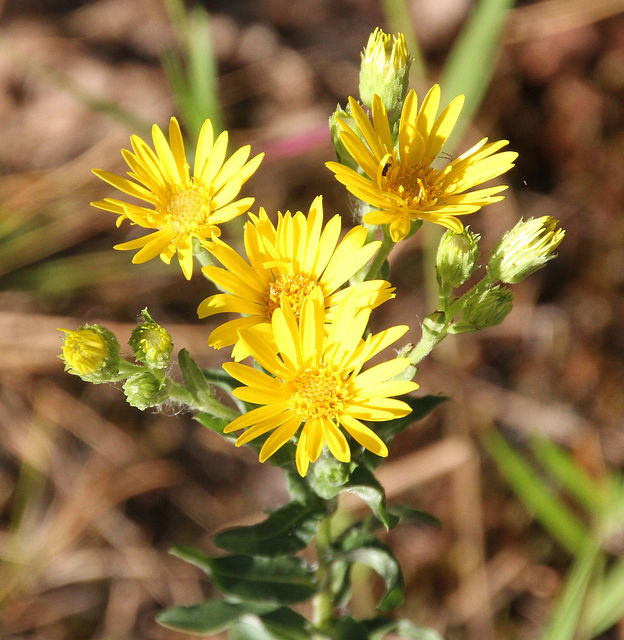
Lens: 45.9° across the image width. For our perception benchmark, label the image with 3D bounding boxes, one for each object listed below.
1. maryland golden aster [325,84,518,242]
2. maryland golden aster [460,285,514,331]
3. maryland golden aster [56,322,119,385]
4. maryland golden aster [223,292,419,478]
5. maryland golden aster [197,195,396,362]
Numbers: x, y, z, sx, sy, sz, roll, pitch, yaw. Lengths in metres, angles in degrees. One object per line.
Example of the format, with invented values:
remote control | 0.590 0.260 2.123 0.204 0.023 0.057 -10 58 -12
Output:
maryland golden aster | 0.354 -0.554 2.590 0.713 0.599 0.224 23 77 -16
maryland golden aster | 0.565 -0.040 2.433 0.213 0.116 0.099 -34 76 21
maryland golden aster | -0.697 0.110 2.396 0.222 0.078 0.185 -27 105 5
maryland golden aster | 0.024 0.191 2.297 0.707 0.177 0.548 -16 80 5
maryland golden aster | -0.093 -0.173 2.474 0.559 0.481 0.161 -16 70 -16
